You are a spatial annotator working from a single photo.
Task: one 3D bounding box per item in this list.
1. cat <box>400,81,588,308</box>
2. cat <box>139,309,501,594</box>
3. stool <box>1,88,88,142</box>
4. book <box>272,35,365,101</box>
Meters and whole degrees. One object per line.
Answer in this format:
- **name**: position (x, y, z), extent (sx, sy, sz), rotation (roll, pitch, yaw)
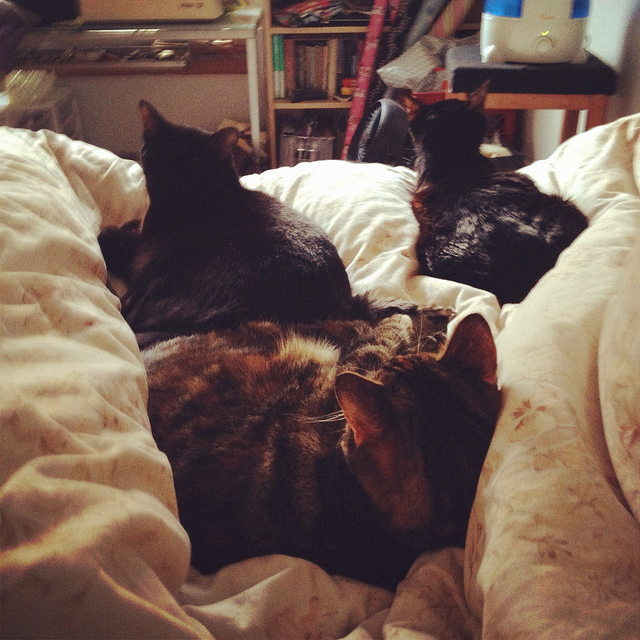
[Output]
- **cat**: position (0.258, -0.219, 1.301), extent (0.233, 0.226, 0.470), rotation (1, 24, -6)
- **cat**: position (-0.054, 0.130, 1.080), extent (0.505, 0.229, 0.410), rotation (16, 32, 18)
- **stool**: position (-0.498, -0.379, 1.441), extent (0.120, 0.144, 0.128), rotation (-2, 21, -7)
- **book**: position (0.015, -0.895, 2.757), extent (0.343, 0.212, 0.334), rotation (4, 27, 4)
